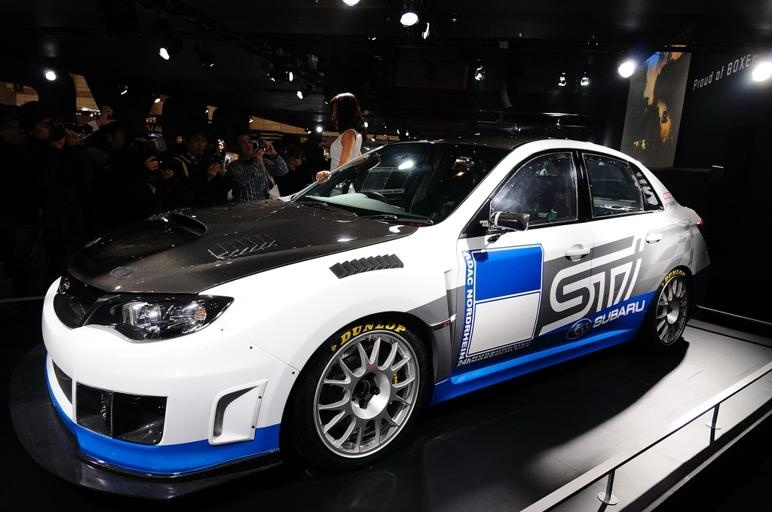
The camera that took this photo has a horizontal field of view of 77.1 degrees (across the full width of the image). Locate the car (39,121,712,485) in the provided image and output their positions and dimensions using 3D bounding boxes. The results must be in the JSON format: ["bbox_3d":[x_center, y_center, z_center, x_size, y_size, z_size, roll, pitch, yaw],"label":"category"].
[{"bbox_3d":[0.382,0.042,3.865,5.241,1.897,1.928,-11,23,-32],"label":"car"}]
